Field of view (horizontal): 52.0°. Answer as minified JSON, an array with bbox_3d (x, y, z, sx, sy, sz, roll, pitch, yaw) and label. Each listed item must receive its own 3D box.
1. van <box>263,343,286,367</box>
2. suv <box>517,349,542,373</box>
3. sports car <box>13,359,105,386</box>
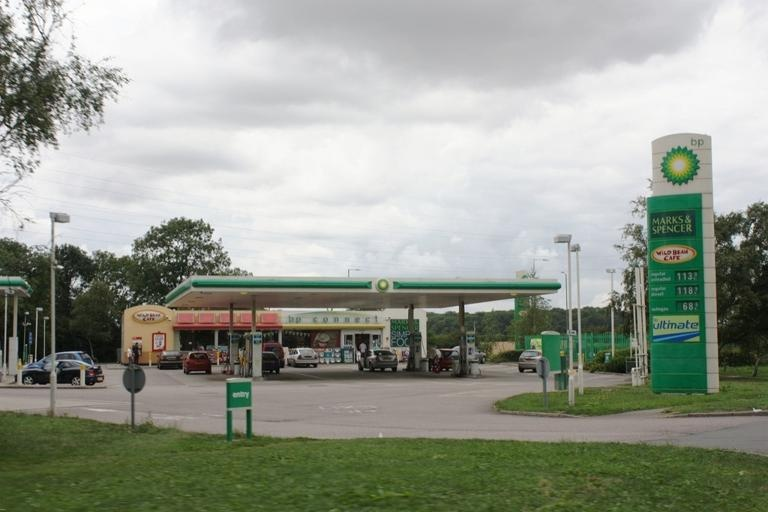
[{"bbox_3d":[-7.826,7.058,56.528,1.717,1.584,3.241,0,-4,-10],"label":"van"},{"bbox_3d":[9.523,6.879,51.723,1.254,1.426,1.886,-3,-9,11],"label":"suv"},{"bbox_3d":[-15.859,5.942,38.792,5.470,1.503,2.317,0,-5,-1],"label":"sports car"}]
